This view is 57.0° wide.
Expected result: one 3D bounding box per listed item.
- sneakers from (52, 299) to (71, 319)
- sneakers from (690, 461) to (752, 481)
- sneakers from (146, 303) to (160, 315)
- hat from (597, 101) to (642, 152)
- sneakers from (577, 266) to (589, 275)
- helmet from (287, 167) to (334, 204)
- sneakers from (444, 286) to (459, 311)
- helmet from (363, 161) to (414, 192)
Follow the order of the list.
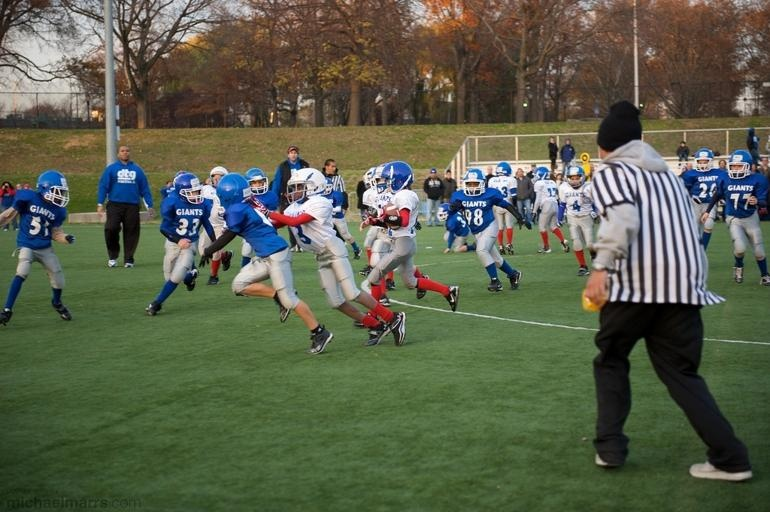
[{"bbox_3d":[-4.736,0.778,10.295,0.114,0.325,0.141,-56,18,-24],"label":"sneakers"},{"bbox_3d":[2.557,1.649,5.386,0.419,0.149,0.173,3,2,22],"label":"sneakers"},{"bbox_3d":[-3.454,0.777,10.516,0.139,0.111,0.276,-28,14,-18],"label":"sneakers"},{"bbox_3d":[1.822,-0.993,5.463,0.357,0.334,0.432,-2,19,-2],"label":"hat"},{"bbox_3d":[3.921,0.304,14.063,0.122,0.140,0.360,-2,0,34],"label":"sneakers"},{"bbox_3d":[-0.947,-0.897,8.851,0.518,0.333,0.387,-1,1,-15],"label":"helmet"},{"bbox_3d":[0.984,0.636,10.365,0.235,0.421,0.145,-9,43,6],"label":"sneakers"},{"bbox_3d":[0.054,-1.122,10.179,0.656,0.306,0.461,4,24,10],"label":"helmet"}]
